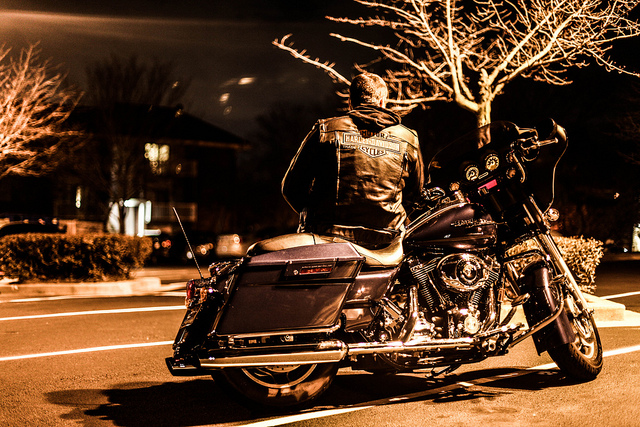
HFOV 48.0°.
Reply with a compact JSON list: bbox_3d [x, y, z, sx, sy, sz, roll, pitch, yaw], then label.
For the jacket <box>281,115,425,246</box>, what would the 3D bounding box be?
[{"bbox_3d":[0.535,-0.313,9.725,2.020,1.952,1.214,5,-13,-2],"label":"jacket"}]
